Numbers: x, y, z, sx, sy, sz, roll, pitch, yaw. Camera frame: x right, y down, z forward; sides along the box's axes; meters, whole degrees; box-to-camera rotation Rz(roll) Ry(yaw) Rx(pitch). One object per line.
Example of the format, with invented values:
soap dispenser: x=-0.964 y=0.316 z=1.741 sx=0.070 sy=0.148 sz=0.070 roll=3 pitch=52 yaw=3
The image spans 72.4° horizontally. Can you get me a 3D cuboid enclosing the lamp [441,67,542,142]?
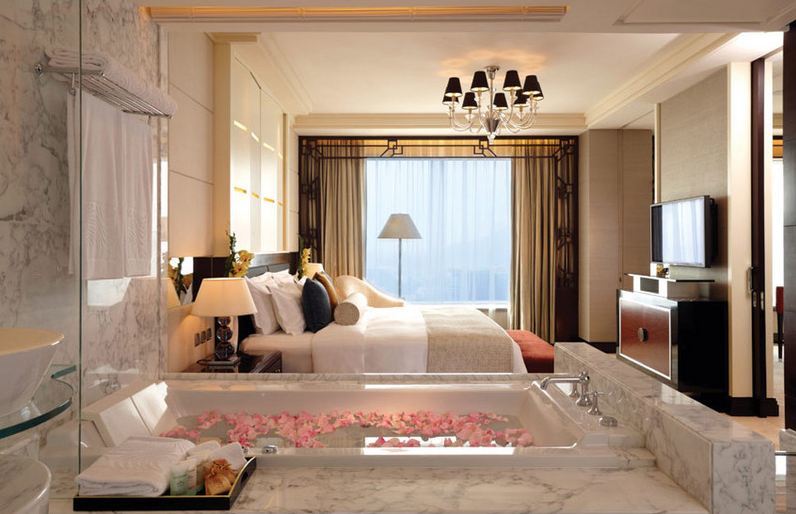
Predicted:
lamp: x=0.892 y=-1.538 z=5.388 sx=0.987 sy=0.647 sz=0.960 roll=1 pitch=2 yaw=27

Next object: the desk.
desk: x=2.744 y=0.719 z=5.547 sx=0.520 sy=1.115 sz=1.552 roll=0 pitch=-1 yaw=2

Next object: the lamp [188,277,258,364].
lamp: x=-1.179 y=0.439 z=4.172 sx=0.592 sy=0.734 sz=0.577 roll=0 pitch=4 yaw=-5

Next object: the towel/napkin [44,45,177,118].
towel/napkin: x=-1.474 y=-0.903 z=2.760 sx=0.312 sy=0.312 sz=0.833 roll=0 pitch=11 yaw=3

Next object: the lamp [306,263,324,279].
lamp: x=-1.011 y=0.166 z=6.582 sx=0.225 sy=0.158 sz=0.219 roll=1 pitch=-2 yaw=-14

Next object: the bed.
bed: x=0.025 y=0.714 z=5.064 sx=2.228 sy=0.342 sz=1.831 roll=2 pitch=12 yaw=9
